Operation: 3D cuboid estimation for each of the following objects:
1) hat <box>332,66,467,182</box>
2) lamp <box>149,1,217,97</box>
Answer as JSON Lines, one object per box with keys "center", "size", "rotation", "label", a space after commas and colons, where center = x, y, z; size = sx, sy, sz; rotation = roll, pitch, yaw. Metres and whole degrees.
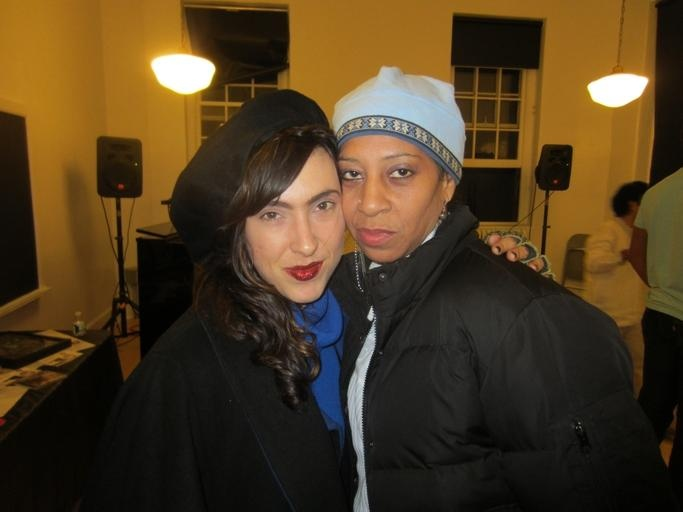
{"center": [0.262, -0.573, 2.676], "size": [0.533, 0.508, 0.461], "rotation": [5, -8, 1], "label": "hat"}
{"center": [-1.331, -1.814, 5.018], "size": [0.461, 0.750, 0.489], "rotation": [-2, 3, -15], "label": "lamp"}
